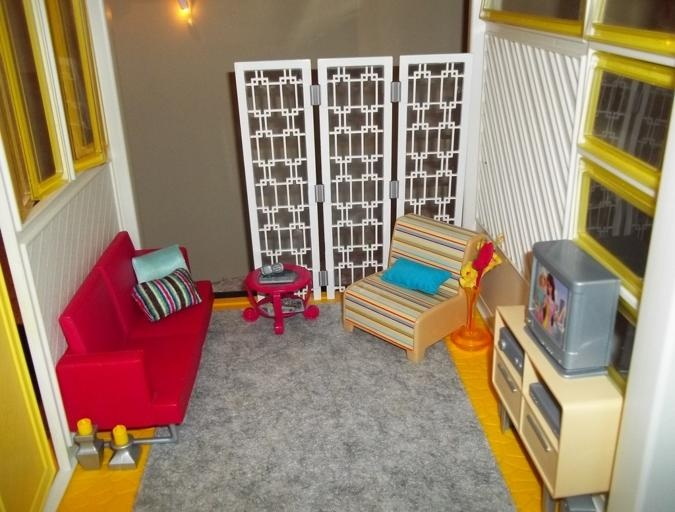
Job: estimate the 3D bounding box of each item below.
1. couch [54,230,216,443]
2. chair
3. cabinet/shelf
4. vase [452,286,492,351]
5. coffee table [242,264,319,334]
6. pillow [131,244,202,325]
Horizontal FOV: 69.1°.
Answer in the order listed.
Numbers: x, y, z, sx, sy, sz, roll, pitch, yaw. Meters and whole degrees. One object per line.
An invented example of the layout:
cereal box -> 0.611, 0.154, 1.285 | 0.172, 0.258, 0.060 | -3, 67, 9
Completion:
couch -> -1.707, 0.594, 4.506 | 0.868, 1.023, 1.977 | 1, 24, -10
chair -> 0.748, 0.286, 5.052 | 1.138, 1.065, 1.074 | -15, 25, -35
cabinet/shelf -> 1.436, 0.934, 3.374 | 0.351, 0.729, 1.148 | -6, 22, 0
vase -> 1.334, 0.580, 4.880 | 0.416, 0.669, 0.407 | -10, 20, -16
coffee table -> -0.640, 0.478, 5.370 | 0.691, 0.539, 0.763 | 8, 22, 23
pillow -> -1.708, 0.245, 4.765 | 0.196, 0.644, 0.658 | -29, -3, 32
